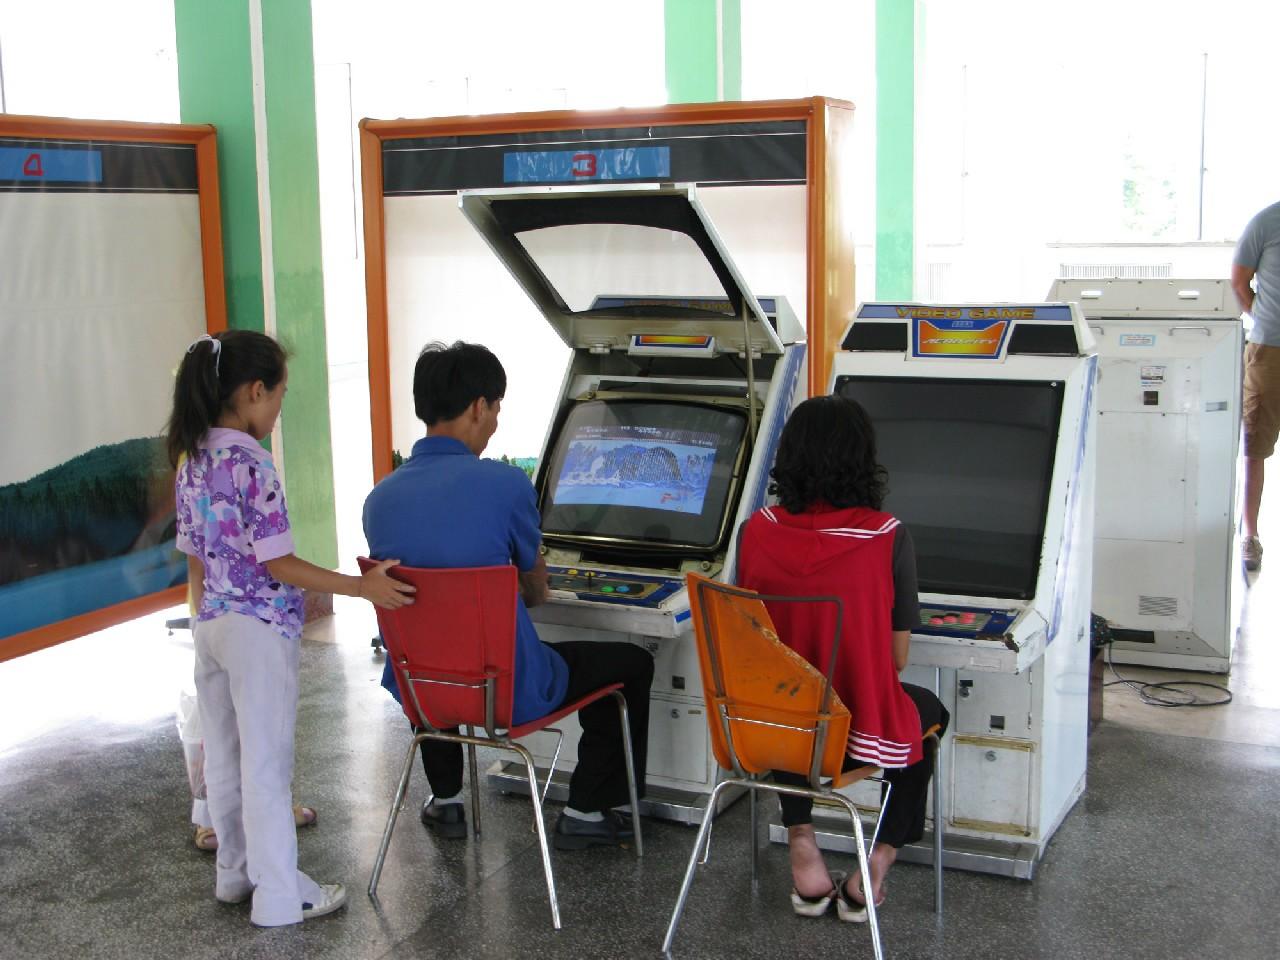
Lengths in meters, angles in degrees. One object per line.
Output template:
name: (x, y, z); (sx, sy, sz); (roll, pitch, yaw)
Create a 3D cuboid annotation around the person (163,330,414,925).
person: (-1.100, 0.419, 3.368); (0.393, 1.682, 0.506); (-11, 16, -39)

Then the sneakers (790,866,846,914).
sneakers: (0.514, 1.178, 3.315); (0.112, 0.080, 0.217); (-1, -7, 7)

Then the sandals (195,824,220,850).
sandals: (-1.417, 1.165, 3.761); (0.064, 0.084, 0.186); (2, -21, -8)

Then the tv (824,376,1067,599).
tv: (0.931, 0.040, 3.391); (0.541, 0.599, 0.201); (6, -5, 22)

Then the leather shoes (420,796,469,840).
leather shoes: (-0.634, 1.098, 3.773); (0.076, 0.087, 0.189); (-4, 13, -31)

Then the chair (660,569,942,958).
chair: (0.389, 0.745, 3.189); (0.615, 1.066, 0.468); (2, 13, 14)

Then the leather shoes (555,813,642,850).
leather shoes: (-0.130, 1.104, 3.739); (0.264, 0.129, 0.108); (-2, 5, -10)

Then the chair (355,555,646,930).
chair: (-0.425, 0.725, 3.493); (0.614, 1.023, 0.635); (1, 3, 19)
